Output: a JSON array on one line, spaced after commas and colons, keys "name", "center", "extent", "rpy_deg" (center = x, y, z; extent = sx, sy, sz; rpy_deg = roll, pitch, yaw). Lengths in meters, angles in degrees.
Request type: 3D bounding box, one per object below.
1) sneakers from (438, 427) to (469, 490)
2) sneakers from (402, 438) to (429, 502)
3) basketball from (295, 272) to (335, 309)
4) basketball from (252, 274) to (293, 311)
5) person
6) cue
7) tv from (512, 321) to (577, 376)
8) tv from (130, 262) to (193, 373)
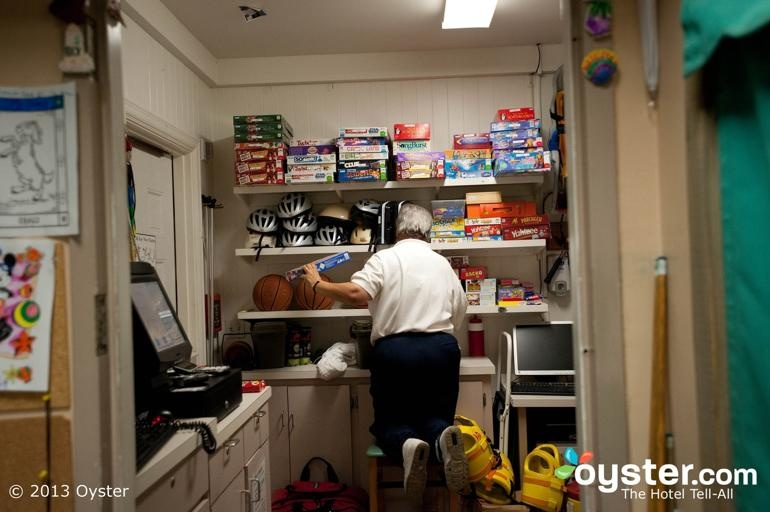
[{"name": "sneakers", "center": [0.345, 0.997, 3.258], "extent": [0.130, 0.328, 0.140], "rpy_deg": [-10, 0, -10]}, {"name": "sneakers", "center": [0.170, 1.091, 3.239], "extent": [0.111, 0.327, 0.138], "rpy_deg": [1, 0, -10]}, {"name": "basketball", "center": [-0.448, 0.226, 4.320], "extent": [0.229, 0.237, 0.228], "rpy_deg": [6, 2, -1]}, {"name": "basketball", "center": [-0.728, 0.251, 4.412], "extent": [0.240, 0.249, 0.242], "rpy_deg": [6, -8, 37]}, {"name": "person", "center": [0.093, 0.448, 3.545], "extent": [0.716, 1.554, 0.680], "rpy_deg": [-2, -4, 6]}, {"name": "cue", "center": [0.908, 0.349, 2.143], "extent": [0.092, 0.690, 0.019], "rpy_deg": [-3, -5, 21]}, {"name": "tv", "center": [1.023, 0.607, 4.210], "extent": [0.371, 0.348, 0.201], "rpy_deg": [-2, -4, 10]}, {"name": "tv", "center": [-0.982, 0.250, 2.794], "extent": [0.212, 0.463, 0.294], "rpy_deg": [-2, -4, 1]}]
